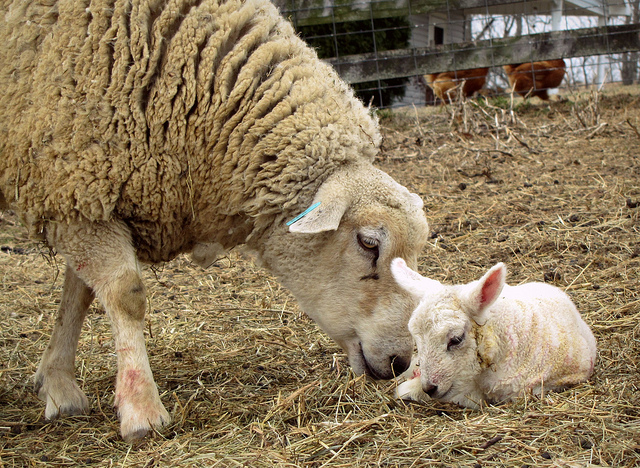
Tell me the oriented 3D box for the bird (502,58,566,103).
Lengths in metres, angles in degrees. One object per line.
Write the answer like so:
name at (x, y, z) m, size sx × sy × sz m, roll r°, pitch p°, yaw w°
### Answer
bird at (3.990, -2.847, 14.156) m, size 1.100 × 0.853 × 3.562 m, roll 1°, pitch 8°, yaw 14°

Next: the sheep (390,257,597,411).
sheep at (1.207, 0.684, 5.631) m, size 1.709 × 0.975 × 1.222 m, roll -7°, pitch 8°, yaw -34°
